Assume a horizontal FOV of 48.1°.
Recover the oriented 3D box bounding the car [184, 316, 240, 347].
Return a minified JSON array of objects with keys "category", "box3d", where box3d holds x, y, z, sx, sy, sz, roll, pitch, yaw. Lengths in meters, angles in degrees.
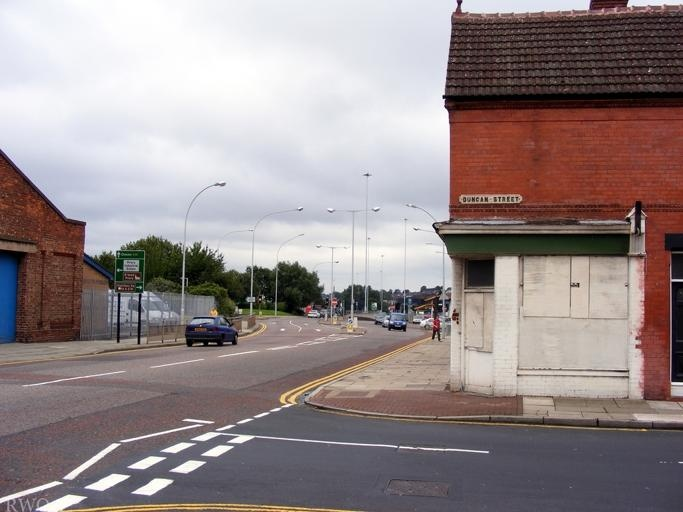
[{"category":"car","box3d":[-6.349,3.651,37.610,1.920,1.456,2.473,-2,-6,16]}]
